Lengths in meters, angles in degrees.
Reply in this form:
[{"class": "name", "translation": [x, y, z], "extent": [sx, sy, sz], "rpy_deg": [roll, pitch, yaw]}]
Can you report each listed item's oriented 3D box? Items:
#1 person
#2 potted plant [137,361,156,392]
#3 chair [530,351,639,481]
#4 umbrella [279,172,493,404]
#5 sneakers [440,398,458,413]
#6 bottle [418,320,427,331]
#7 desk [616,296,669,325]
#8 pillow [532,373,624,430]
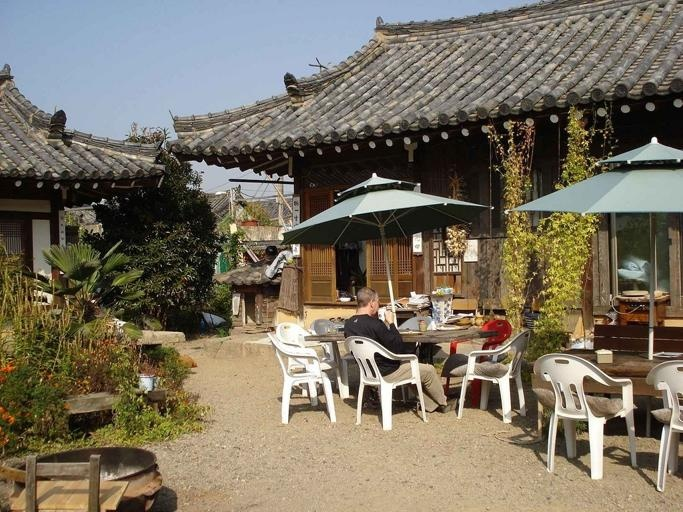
[{"class": "person", "translation": [0.632, 1.179, 8.453], "extent": [1.167, 1.584, 0.693], "rpy_deg": [-5, 7, -28]}, {"class": "potted plant", "translation": [-2.366, 1.480, 8.326], "extent": [0.213, 0.272, 0.292], "rpy_deg": [-1, -8, 7]}, {"class": "chair", "translation": [2.461, 1.579, 7.045], "extent": [0.874, 1.239, 0.833], "rpy_deg": [-2, -1, -25]}, {"class": "umbrella", "translation": [0.569, 0.303, 9.336], "extent": [2.256, 2.777, 2.273], "rpy_deg": [-7, -1, 10]}, {"class": "sneakers", "translation": [1.350, 1.880, 8.665], "extent": [0.098, 0.135, 0.306], "rpy_deg": [4, 7, 33]}, {"class": "bottle", "translation": [1.054, 0.896, 9.015], "extent": [0.107, 0.140, 0.117], "rpy_deg": [0, -8, 0]}, {"class": "desk", "translation": [4.152, 0.739, 9.521], "extent": [0.527, 0.656, 0.603], "rpy_deg": [-1, -3, 24]}, {"class": "pillow", "translation": [2.385, 1.458, 6.985], "extent": [0.562, 0.762, 0.501], "rpy_deg": [3, 18, 43]}]
